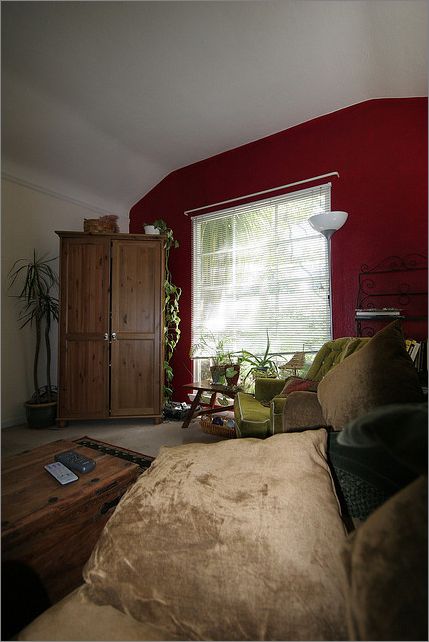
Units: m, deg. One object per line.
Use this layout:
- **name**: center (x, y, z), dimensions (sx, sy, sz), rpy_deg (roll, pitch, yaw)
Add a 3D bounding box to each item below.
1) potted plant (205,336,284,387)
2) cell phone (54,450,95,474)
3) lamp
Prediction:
- **potted plant**: center (0.237, 0.293, 3.428), dimensions (0.533, 0.420, 0.350), rpy_deg (-3, -3, 42)
- **cell phone**: center (-0.449, 0.447, 1.452), dimensions (0.056, 0.035, 0.121), rpy_deg (1, 2, -45)
- **lamp**: center (0.765, -0.301, 2.956), dimensions (0.238, 0.838, 0.727), rpy_deg (-1, -2, 16)
